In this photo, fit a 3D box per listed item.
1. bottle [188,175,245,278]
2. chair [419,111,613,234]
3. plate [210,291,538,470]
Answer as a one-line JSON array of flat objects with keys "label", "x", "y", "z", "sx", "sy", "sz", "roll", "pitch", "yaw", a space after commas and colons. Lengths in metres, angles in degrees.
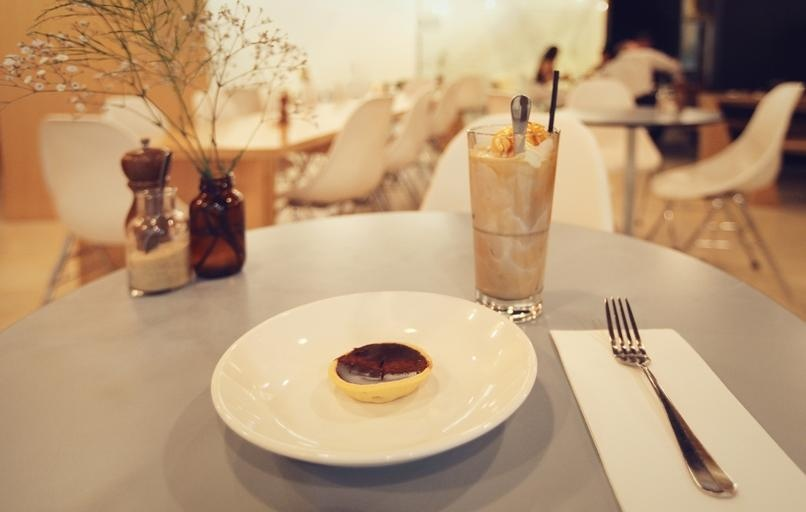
[{"label": "bottle", "x": -0.378, "y": -0.065, "z": 1.142, "sx": 0.119, "sy": 0.194, "sz": 0.114, "roll": 1, "pitch": 20, "yaw": 0}, {"label": "chair", "x": 0.377, "y": -0.254, "z": 1.803, "sx": 0.480, "sy": 0.588, "sz": 0.443, "roll": 4, "pitch": 18, "yaw": 13}, {"label": "plate", "x": -0.042, "y": 0.165, "z": 0.819, "sx": 0.445, "sy": 0.094, "sz": 0.330, "roll": -10, "pitch": 24, "yaw": -15}]
